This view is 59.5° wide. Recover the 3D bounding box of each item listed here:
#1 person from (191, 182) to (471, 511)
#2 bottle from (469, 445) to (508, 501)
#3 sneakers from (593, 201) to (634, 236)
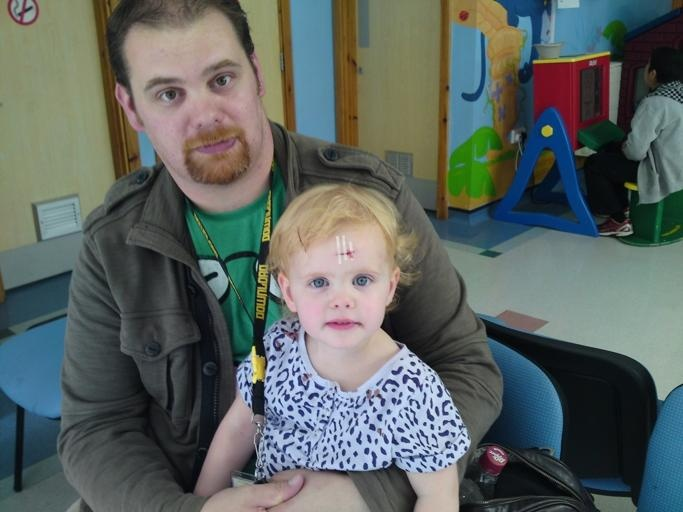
[{"bbox_3d":[-0.037,0.239,1.462,0.554,1.026,0.485,3,16,10],"label":"person"},{"bbox_3d":[0.382,0.557,1.541,0.067,0.128,0.119,13,15,11],"label":"bottle"},{"bbox_3d":[2.184,-0.259,4.888,0.143,0.181,0.354,-5,7,-37],"label":"sneakers"}]
